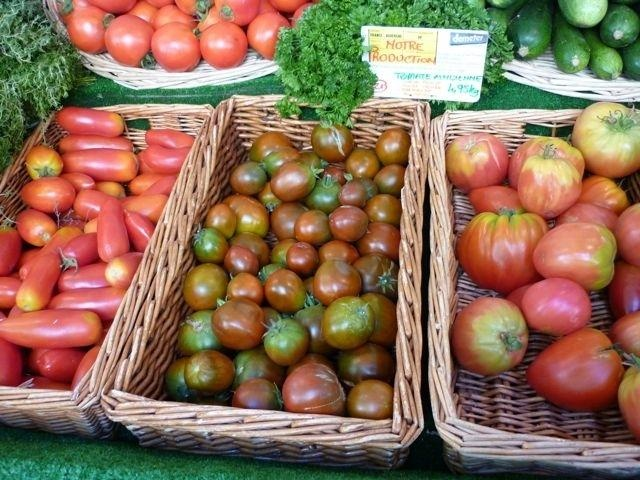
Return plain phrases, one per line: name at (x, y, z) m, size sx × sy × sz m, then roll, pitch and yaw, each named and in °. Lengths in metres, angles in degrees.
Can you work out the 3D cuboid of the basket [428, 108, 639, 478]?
basket at (0.757, 0.204, 2.414) m, size 0.880 × 0.473 × 1.443 m, roll 4°, pitch 63°, yaw 12°
